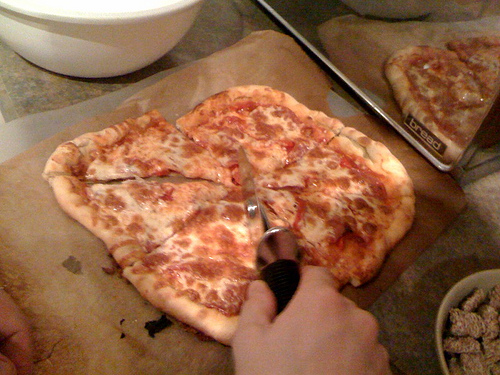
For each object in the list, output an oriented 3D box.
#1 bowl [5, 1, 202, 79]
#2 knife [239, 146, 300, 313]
[{"bbox_3d":[-0.345,-0.365,0.977,0.320,0.112,0.294,2,40,-1],"label":"bowl"},{"bbox_3d":[0.018,0.076,0.882,0.066,0.061,0.363,-23,50,-1],"label":"knife"}]
